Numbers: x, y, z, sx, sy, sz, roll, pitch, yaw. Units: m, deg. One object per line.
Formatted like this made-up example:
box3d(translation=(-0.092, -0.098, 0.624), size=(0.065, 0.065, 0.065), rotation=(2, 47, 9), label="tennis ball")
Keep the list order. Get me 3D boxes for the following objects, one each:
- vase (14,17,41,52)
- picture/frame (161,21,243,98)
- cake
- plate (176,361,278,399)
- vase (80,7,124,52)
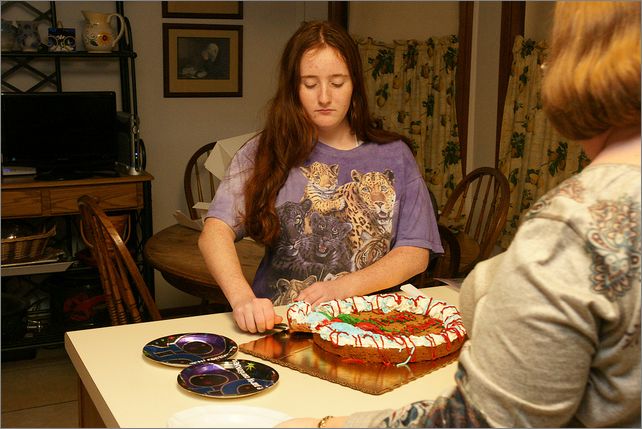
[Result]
box3d(translation=(-1.926, -1.171, 3.156), size=(0.139, 0.207, 0.147), rotation=(-7, 14, -29), label="vase")
box3d(translation=(-0.961, -1.227, 3.773), size=(0.614, 0.546, 0.043), rotation=(-2, 8, -20), label="picture/frame")
box3d(translation=(0.154, 0.289, 1.211), size=(0.263, 0.058, 0.221), rotation=(1, 6, 21), label="cake")
box3d(translation=(-0.205, 0.369, 1.065), size=(0.217, 0.027, 0.134), rotation=(-3, 12, -15), label="plate")
box3d(translation=(-1.467, -1.203, 3.186), size=(0.327, 0.319, 0.220), rotation=(-6, 16, -37), label="vase")
